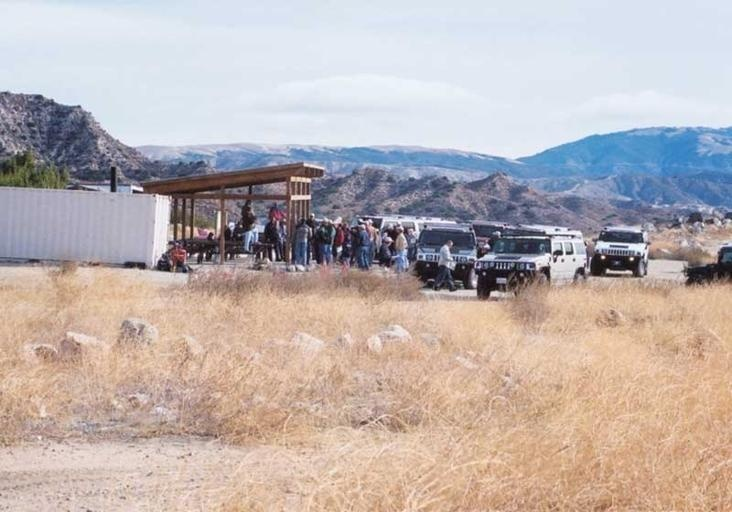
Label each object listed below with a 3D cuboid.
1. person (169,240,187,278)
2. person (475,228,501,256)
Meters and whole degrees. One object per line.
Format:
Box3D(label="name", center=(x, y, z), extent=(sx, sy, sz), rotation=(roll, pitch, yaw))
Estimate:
Box3D(label="person", center=(-5.821, 0.087, 33.025), extent=(0.599, 0.849, 1.331), rotation=(0, -5, -10))
Box3D(label="person", center=(4.314, -0.632, 37.702), extent=(0.816, 0.327, 1.238), rotation=(-4, 19, 21))
